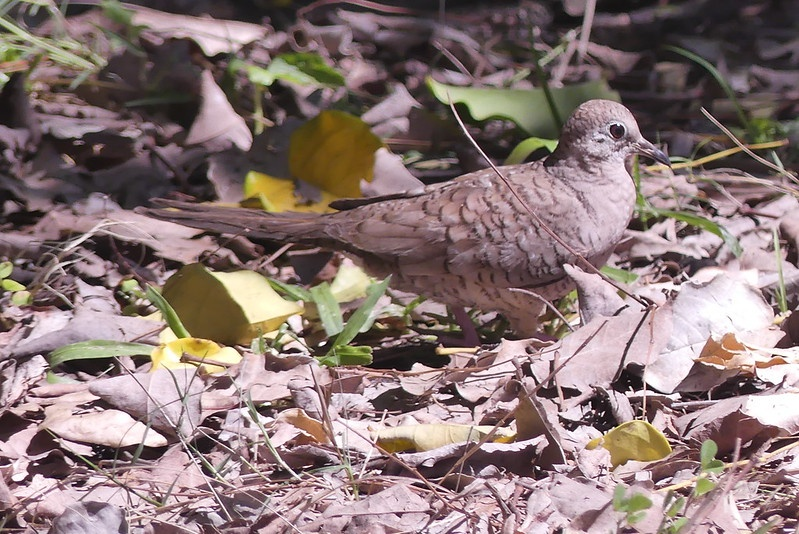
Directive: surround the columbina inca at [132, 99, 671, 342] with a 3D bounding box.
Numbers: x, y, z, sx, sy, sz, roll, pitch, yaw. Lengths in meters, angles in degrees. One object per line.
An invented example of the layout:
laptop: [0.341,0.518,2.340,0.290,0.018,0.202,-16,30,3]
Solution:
columbina inca: [0.246,-0.097,2.874,1.701,0.784,0.728,-13,53,-5]
